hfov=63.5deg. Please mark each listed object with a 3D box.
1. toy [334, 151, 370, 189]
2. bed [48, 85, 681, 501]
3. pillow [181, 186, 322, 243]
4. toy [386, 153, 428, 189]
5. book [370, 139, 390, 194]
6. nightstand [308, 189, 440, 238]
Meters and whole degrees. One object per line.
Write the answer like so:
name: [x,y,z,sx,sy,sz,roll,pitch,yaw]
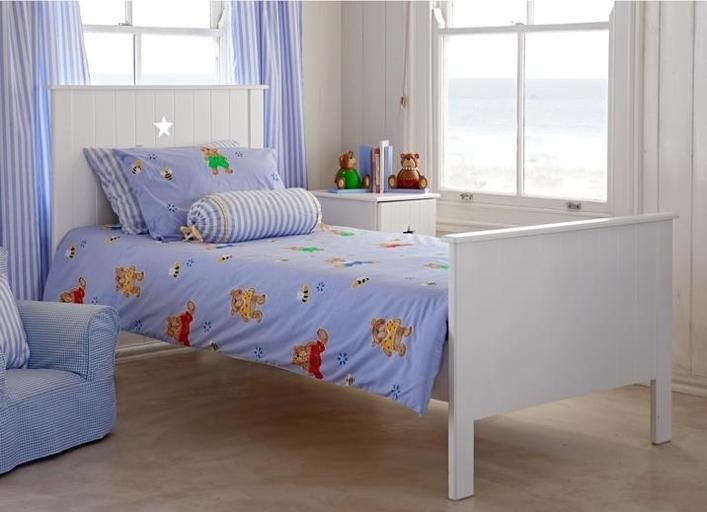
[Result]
toy: [-0.024,-0.577,4.113,0.318,0.340,0.231,-6,8,-44]
bed: [0.036,-0.165,3.165,3.118,1.768,1.865,5,8,33]
pillow: [-0.531,-0.233,3.137,0.828,0.314,0.289,-7,-2,-37]
toy: [0.406,-0.533,4.088,0.341,0.350,0.229,1,0,13]
book: [0.186,-0.618,4.001,0.137,0.354,0.349,4,9,21]
nightstand: [0.188,-0.268,4.062,0.774,0.396,0.828,-3,10,2]
